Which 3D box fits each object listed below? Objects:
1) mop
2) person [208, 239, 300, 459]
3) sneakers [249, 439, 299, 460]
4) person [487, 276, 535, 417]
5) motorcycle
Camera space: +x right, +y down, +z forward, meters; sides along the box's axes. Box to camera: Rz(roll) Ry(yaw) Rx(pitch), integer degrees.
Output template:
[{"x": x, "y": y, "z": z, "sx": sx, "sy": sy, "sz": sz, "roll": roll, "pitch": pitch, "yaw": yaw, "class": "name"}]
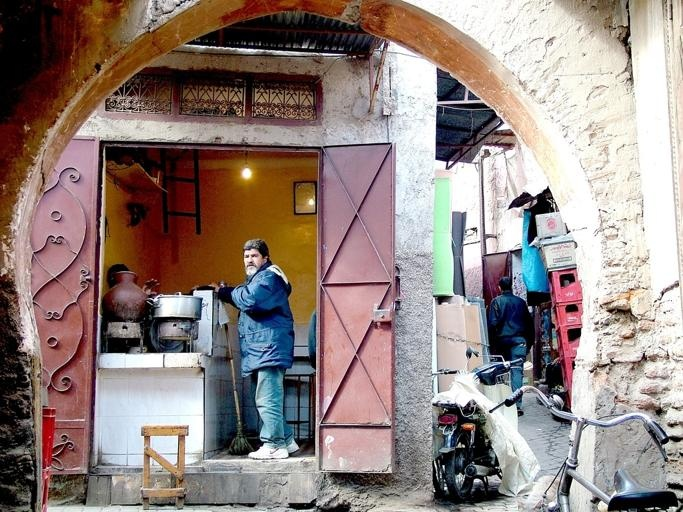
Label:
[{"x": -1.220, "y": 1.311, "z": 11.019, "sx": 0.361, "sy": 2.037, "sz": 0.512, "roll": 5, "pitch": 1, "yaw": -4, "class": "mop"}, {"x": -0.878, "y": 0.927, "z": 9.976, "sx": 0.833, "sy": 2.447, "sz": 0.741, "roll": 0, "pitch": -2, "yaw": 4, "class": "person"}, {"x": -0.669, "y": 2.000, "z": 9.854, "sx": 0.525, "sy": 0.253, "sz": 0.213, "roll": 1, "pitch": -11, "yaw": -5, "class": "sneakers"}, {"x": 2.321, "y": 1.225, "z": 13.183, "sx": 0.557, "sy": 1.889, "sz": 0.530, "roll": 0, "pitch": -10, "yaw": 15, "class": "person"}, {"x": 1.248, "y": 1.861, "z": 9.913, "sx": 0.674, "sy": 1.253, "sz": 1.950, "roll": 0, "pitch": -3, "yaw": 2, "class": "motorcycle"}]
